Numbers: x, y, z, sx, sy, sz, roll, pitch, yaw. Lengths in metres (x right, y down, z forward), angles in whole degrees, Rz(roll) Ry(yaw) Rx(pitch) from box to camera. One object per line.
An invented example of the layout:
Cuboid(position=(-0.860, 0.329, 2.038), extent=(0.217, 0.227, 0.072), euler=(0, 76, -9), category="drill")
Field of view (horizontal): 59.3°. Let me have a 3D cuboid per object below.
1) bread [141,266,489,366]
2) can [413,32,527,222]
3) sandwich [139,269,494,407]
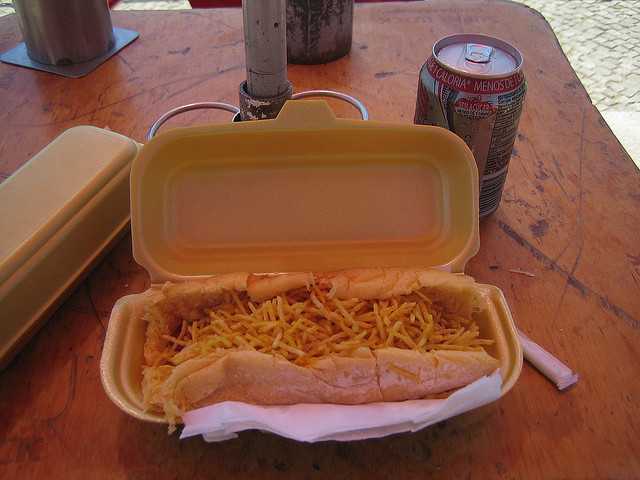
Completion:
Cuboid(position=(-0.064, 0.157, 1.775), extent=(0.893, 0.318, 0.631), euler=(-8, 19, -21), category="bread")
Cuboid(position=(0.486, -0.385, 1.925), extent=(0.208, 0.583, 0.302), euler=(-3, 24, -17), category="can")
Cuboid(position=(0.002, 0.305, 1.720), extent=(0.924, 0.272, 0.471), euler=(-1, 68, -1), category="sandwich")
